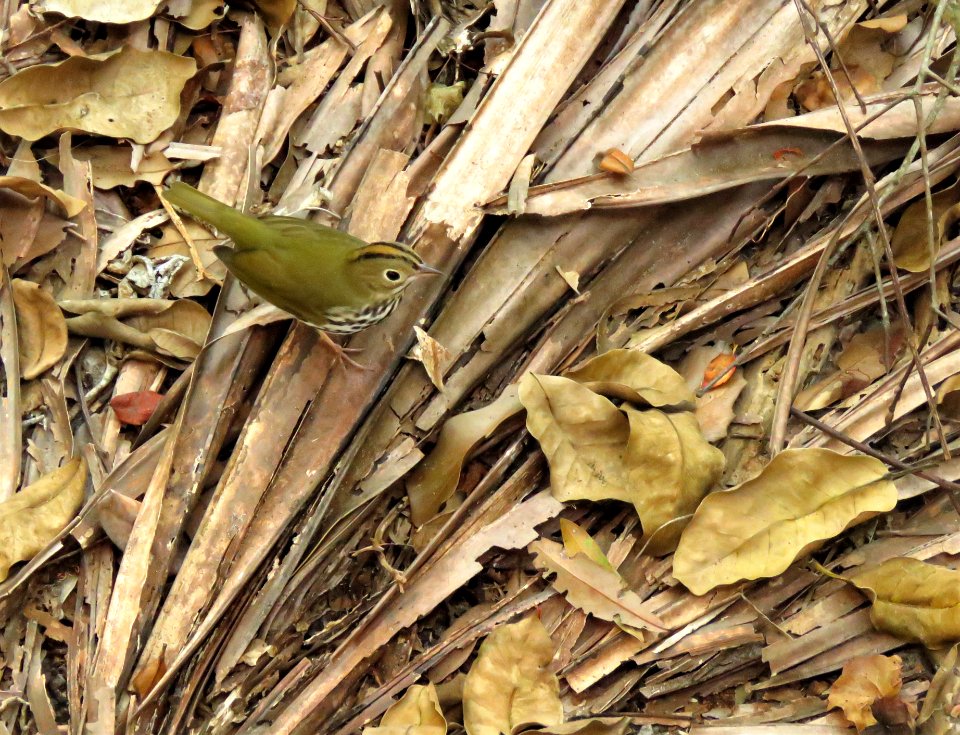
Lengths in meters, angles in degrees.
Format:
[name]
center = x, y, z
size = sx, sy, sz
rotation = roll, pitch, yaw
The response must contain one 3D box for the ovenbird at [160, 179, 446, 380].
[ovenbird]
center = -0.710, -0.435, 4.858
size = 1.107, 0.667, 0.412
rotation = 24, 61, -6
